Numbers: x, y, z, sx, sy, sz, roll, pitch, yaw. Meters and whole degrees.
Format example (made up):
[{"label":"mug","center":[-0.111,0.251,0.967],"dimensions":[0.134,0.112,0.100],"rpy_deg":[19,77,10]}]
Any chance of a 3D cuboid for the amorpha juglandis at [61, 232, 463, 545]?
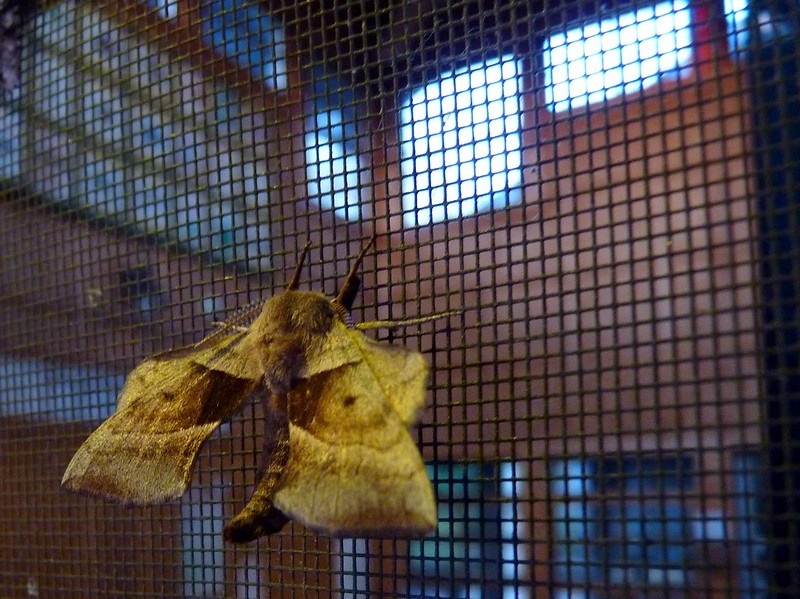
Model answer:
[{"label":"amorpha juglandis","center":[-0.270,0.324,3.534],"dimensions":[1.096,0.386,1.057],"rpy_deg":[6,45,23]}]
